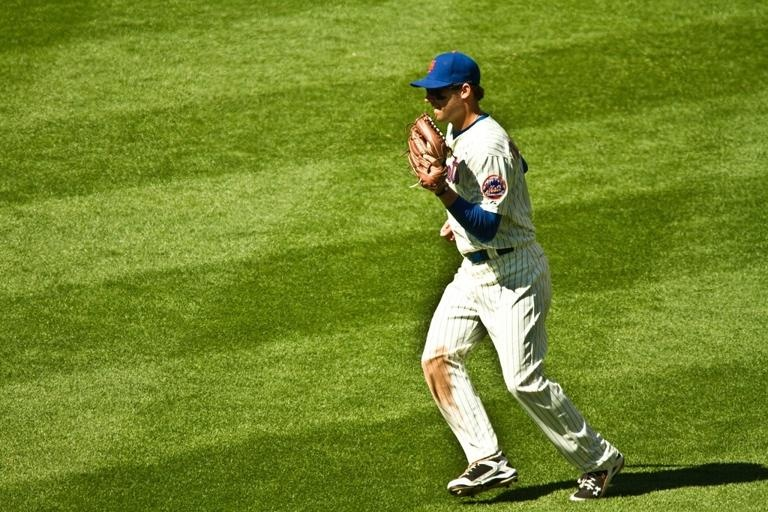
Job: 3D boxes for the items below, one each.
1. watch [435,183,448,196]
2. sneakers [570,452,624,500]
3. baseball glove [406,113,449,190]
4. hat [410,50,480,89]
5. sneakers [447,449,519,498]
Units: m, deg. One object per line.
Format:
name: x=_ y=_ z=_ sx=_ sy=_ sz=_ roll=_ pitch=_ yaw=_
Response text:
watch: x=0.442 y=-0.486 z=10.875 sx=0.097 sy=0.054 sz=0.073 roll=-52 pitch=34 yaw=4
sneakers: x=1.671 y=1.698 z=11.373 sx=0.370 sy=0.150 sz=0.129 roll=-44 pitch=38 yaw=7
baseball glove: x=0.356 y=-0.783 z=11.010 sx=0.336 sy=0.502 sz=0.165 roll=-12 pitch=-19 yaw=38
hat: x=0.475 y=-1.409 z=11.302 sx=0.639 sy=0.292 sz=0.403 roll=-4 pitch=7 yaw=-20
sneakers: x=0.887 y=1.633 z=11.413 sx=0.536 sy=0.270 sz=0.192 roll=-10 pitch=-19 yaw=42
